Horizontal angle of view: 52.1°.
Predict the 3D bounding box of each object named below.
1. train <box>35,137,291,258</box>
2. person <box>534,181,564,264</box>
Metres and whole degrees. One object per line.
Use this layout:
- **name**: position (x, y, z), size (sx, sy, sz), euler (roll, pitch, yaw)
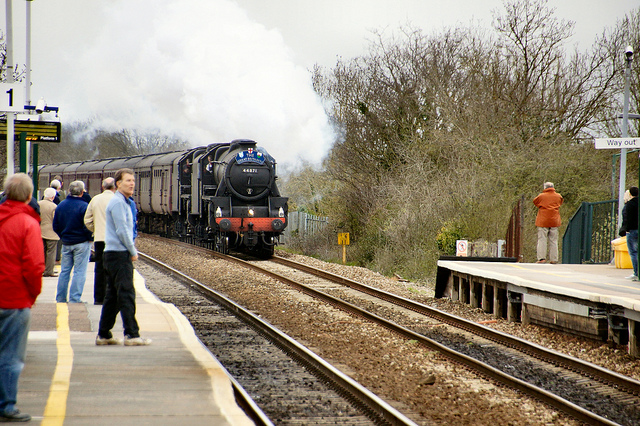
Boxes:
- **train**: position (-8.930, -1.208, 31.999), size (2.578, 3.687, 20.242), euler (-2, 3, -42)
- **person**: position (6.060, 0.257, 17.418), size (0.668, 2.246, 0.826), euler (1, 0, 21)
